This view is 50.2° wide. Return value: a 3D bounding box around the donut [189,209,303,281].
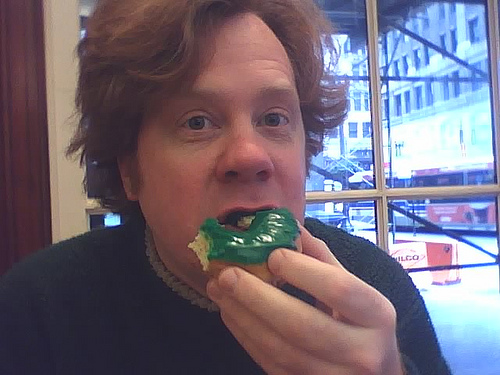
[{"bbox_3d":[-0.018,0.161,1.602,0.240,0.100,0.198,1,31,11],"label":"donut"}]
